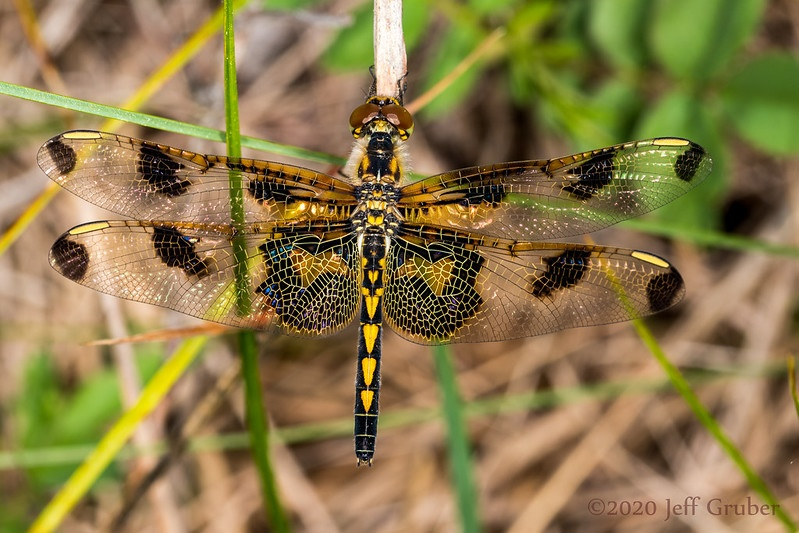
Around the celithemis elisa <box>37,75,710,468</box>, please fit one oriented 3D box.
[{"bbox_3d":[-0.152,-0.155,4.230,3.205,0.580,1.241,1,79,4],"label":"celithemis elisa"}]
